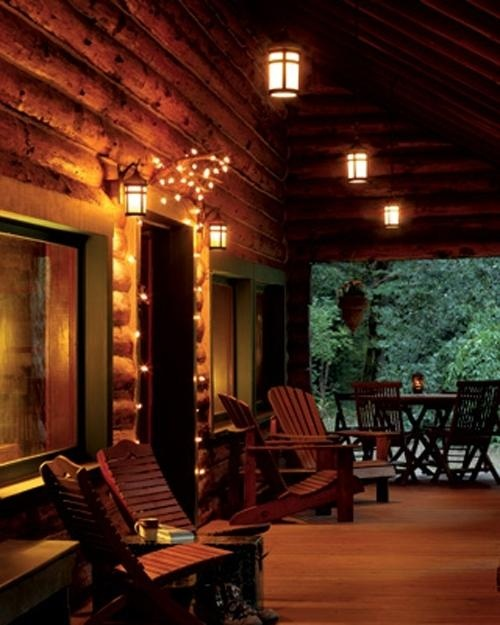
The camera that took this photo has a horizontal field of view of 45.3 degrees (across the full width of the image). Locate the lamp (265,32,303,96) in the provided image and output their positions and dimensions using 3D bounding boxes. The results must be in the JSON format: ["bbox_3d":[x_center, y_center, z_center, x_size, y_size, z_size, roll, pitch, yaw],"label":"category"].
[{"bbox_3d":[0.227,-1.679,4.031,0.218,0.433,0.253,-2,0,2],"label":"lamp"}]

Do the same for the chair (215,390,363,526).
[{"bbox_3d":[0.345,1.217,4.963,1.067,0.959,0.736,0,-10,-7],"label":"chair"}]

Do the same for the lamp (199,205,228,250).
[{"bbox_3d":[-0.296,-0.714,4.901,0.198,0.371,0.615,-2,0,0],"label":"lamp"}]

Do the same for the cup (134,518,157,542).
[{"bbox_3d":[-0.444,0.932,2.606,0.116,0.103,0.086,1,-5,-10],"label":"cup"}]

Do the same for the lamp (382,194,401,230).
[{"bbox_3d":[1.813,-1.311,7.663,0.226,0.419,0.632,-2,0,14],"label":"lamp"}]

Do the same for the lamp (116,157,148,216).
[{"bbox_3d":[-0.644,-0.691,3.292,0.146,0.301,0.337,-2,0,-11],"label":"lamp"}]
